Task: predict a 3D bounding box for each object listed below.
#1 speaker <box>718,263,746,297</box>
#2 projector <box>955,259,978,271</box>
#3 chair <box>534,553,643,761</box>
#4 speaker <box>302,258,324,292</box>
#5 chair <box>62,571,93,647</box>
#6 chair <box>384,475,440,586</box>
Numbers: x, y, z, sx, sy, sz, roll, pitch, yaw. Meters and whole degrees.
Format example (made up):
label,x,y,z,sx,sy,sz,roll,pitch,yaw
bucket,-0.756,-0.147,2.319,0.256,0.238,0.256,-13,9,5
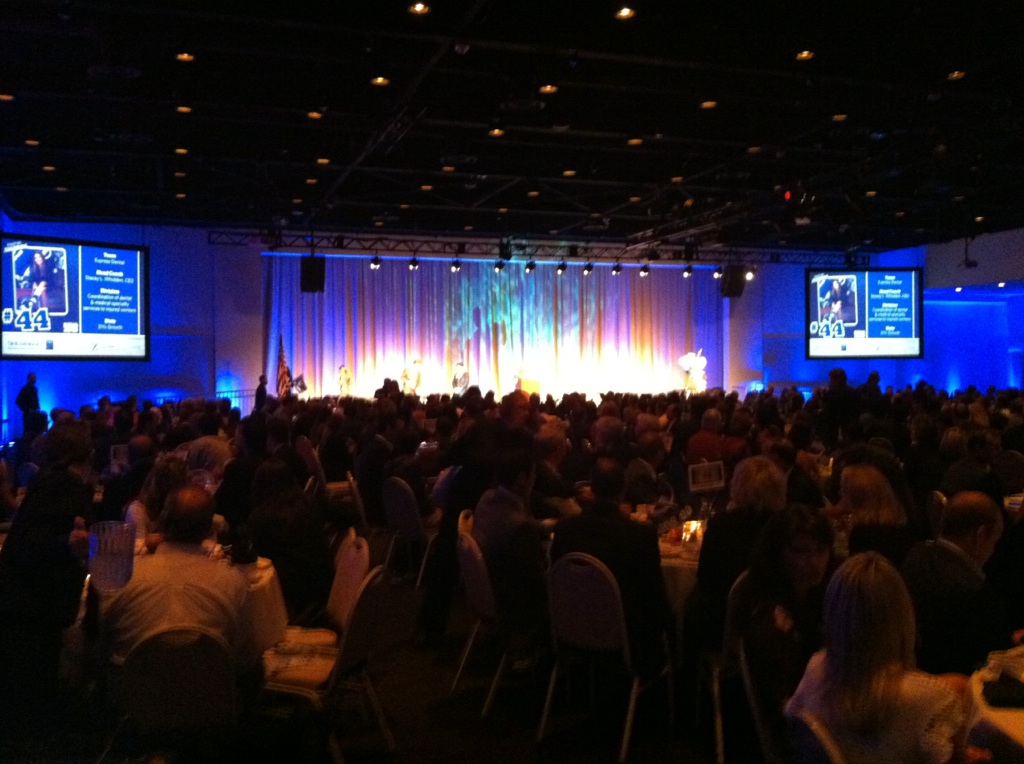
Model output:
label,x,y,z,sx,sy,sz,roll,pitch,yaw
speaker,5.912,-2.714,21.740,0.616,0.875,1.754,3,8,13
projector,10.446,-2.667,18.477,0.427,0.202,0.624,0,0,-19
chair,0.475,1.581,4.930,0.636,1.234,0.550,3,8,12
speaker,-4.181,-2.225,16.790,0.433,0.694,0.458,0,8,-8
chair,-2.386,1.252,4.400,0.096,0.459,0.115,9,13,14
chair,-0.912,1.355,7.245,0.384,1.203,0.329,8,24,28
